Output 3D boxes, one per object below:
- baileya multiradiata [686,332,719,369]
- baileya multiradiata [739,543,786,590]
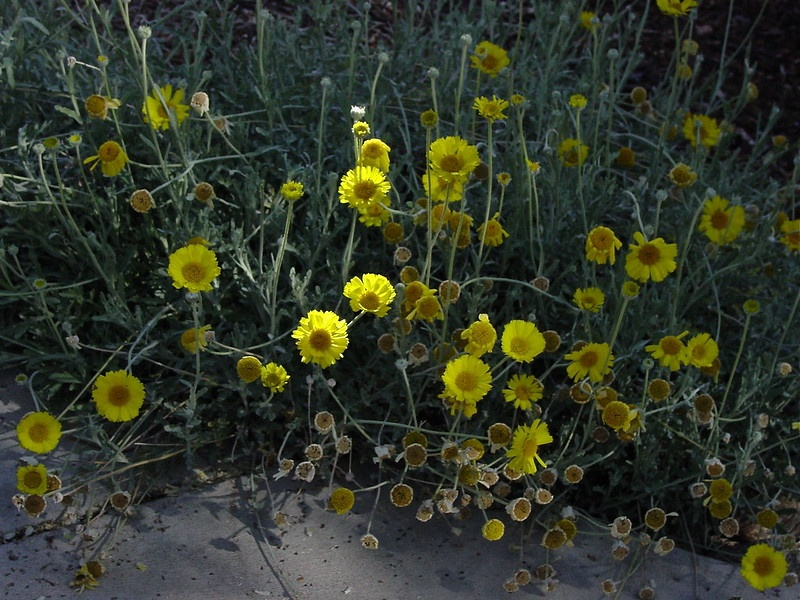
[{"bbox_3d":[1.016,0.177,2.458,0.092,0.105,0.116,25,37,26],"label":"baileya multiradiata"},{"bbox_3d":[1.220,0.915,2.454,0.138,0.172,0.092,10,33,6],"label":"baileya multiradiata"}]
